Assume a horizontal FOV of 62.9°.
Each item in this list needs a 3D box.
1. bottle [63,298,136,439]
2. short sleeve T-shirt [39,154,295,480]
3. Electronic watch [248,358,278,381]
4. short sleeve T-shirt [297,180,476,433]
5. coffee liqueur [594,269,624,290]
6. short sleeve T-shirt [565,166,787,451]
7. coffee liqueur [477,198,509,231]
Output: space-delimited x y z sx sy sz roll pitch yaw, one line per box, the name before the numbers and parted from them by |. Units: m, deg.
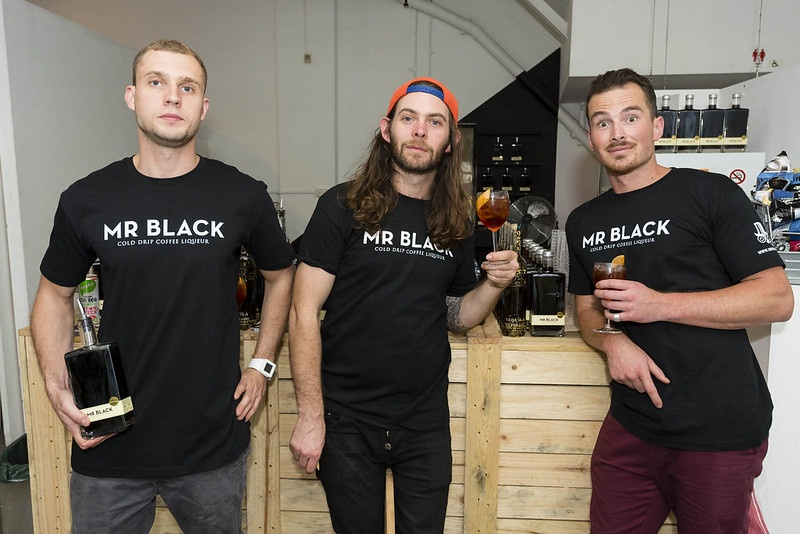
bottle | -1.258 0.430 2.731 0.228 0.588 0.114 0 7 13
short sleeve T-shirt | -1.017 0.214 2.870 1.002 1.341 0.336 -1 7 2
Electronic watch | -0.631 0.456 2.989 0.135 0.077 0.128 25 -24 -25
short sleeve T-shirt | -0.101 0.182 3.005 0.714 1.115 0.255 -2 7 -6
coffee liqueur | 0.933 0.056 2.916 0.090 0.069 0.090 1 -2 20
short sleeve T-shirt | 1.224 0.175 2.985 0.887 1.230 0.309 3 8 31
coffee liqueur | 0.414 -0.245 3.062 0.139 0.150 0.141 -1 1 -20
